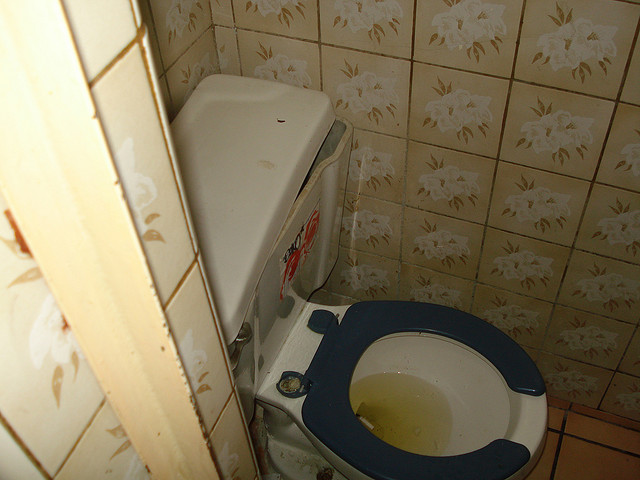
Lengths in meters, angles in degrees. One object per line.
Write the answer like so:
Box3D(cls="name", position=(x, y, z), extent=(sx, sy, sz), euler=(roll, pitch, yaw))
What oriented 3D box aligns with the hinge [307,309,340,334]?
Box3D(cls="hinge", position=(0.006, 0.208, 1.279), extent=(0.067, 0.024, 0.052), euler=(7, 59, 13))
